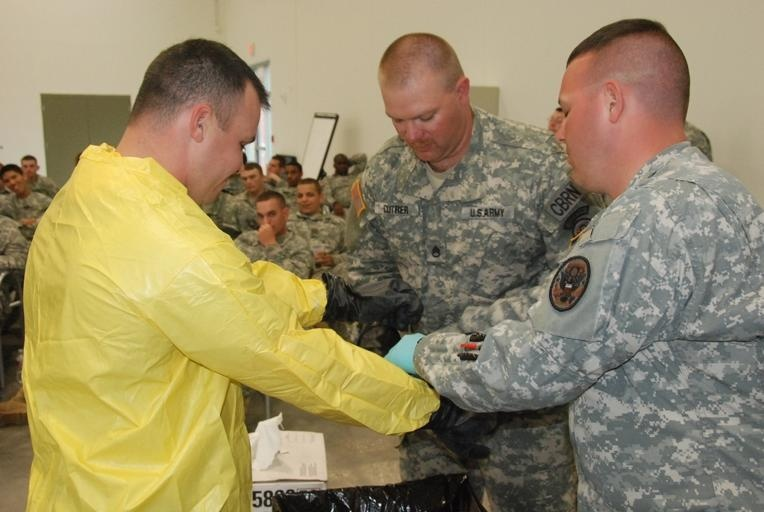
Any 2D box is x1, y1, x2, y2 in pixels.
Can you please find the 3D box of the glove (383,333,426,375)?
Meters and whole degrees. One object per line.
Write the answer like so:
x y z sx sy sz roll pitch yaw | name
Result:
0.083 0.306 2.470 0.113 0.130 0.108 -1 26 27 | glove

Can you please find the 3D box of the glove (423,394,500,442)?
0.240 0.492 2.335 0.208 0.088 0.074 11 27 -30 | glove

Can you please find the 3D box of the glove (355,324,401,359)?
-0.015 0.314 2.897 0.131 0.124 0.039 26 16 15 | glove

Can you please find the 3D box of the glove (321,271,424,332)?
-0.047 0.156 2.839 0.464 0.183 0.260 4 25 17 | glove
